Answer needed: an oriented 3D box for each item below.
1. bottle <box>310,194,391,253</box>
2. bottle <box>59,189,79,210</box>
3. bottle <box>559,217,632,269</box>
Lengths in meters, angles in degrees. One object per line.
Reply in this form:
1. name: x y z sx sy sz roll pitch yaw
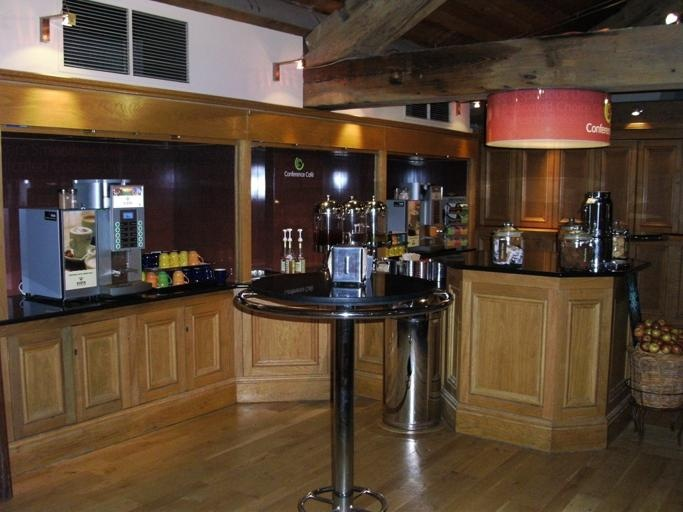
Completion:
1. bottle: 0.045 -0.293 5.041 0.744 0.380 0.308 5 10 39
2. bottle: -2.015 -0.425 4.184 0.123 0.132 0.172 1 7 32
3. bottle: 2.008 -0.081 4.472 0.696 0.369 0.327 -3 7 -13
